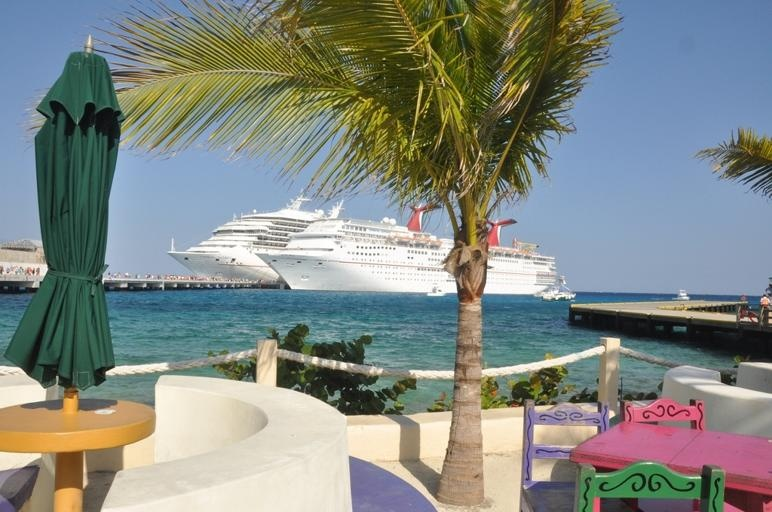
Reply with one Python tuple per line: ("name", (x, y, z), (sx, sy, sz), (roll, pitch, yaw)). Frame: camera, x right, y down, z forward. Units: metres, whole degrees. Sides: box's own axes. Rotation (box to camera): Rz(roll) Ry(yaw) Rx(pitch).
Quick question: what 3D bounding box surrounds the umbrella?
("umbrella", (-1.881, -0.282, 3.940), (0.569, 2.160, 0.253), (4, -6, -27))
